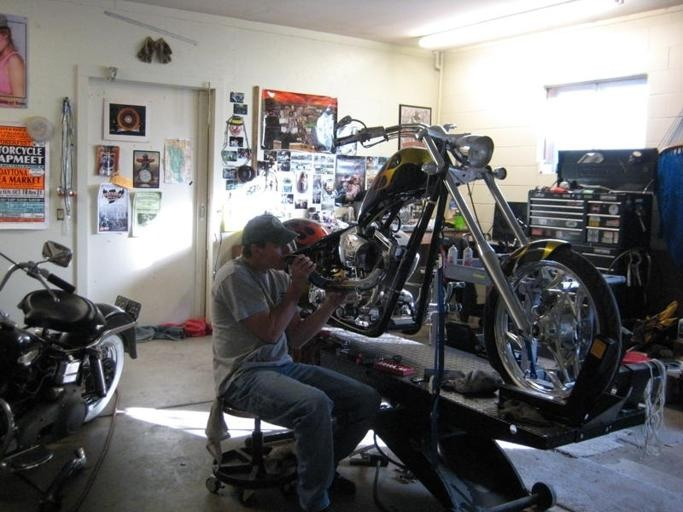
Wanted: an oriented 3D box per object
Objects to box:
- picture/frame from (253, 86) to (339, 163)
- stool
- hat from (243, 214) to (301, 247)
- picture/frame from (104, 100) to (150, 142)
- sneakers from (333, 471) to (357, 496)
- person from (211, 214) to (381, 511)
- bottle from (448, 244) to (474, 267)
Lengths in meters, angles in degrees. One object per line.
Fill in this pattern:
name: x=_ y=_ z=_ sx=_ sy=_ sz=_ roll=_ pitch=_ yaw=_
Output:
picture/frame: x=-0.582 y=-1.531 z=6.133 sx=1.296 sy=0.956 sz=0.064 roll=-2 pitch=5 yaw=-30
stool: x=-0.487 y=1.138 z=2.985 sx=0.521 sy=0.570 sz=0.530 roll=1 pitch=3 yaw=-7
hat: x=-0.396 y=-0.126 z=2.841 sx=0.233 sy=0.125 sz=0.164 roll=-5 pitch=8 yaw=2
picture/frame: x=-2.263 y=-1.401 z=5.469 sx=0.447 sy=0.414 sz=0.047 roll=-3 pitch=8 yaw=-30
sneakers: x=0.009 y=1.234 z=2.852 sx=0.114 sy=0.047 sz=0.120 roll=25 pitch=51 yaw=2
person: x=-0.284 y=0.542 z=2.800 sx=0.836 sy=1.484 sz=0.583 roll=7 pitch=9 yaw=35
bottle: x=1.190 y=-0.006 z=5.226 sx=0.219 sy=0.208 sz=0.078 roll=1 pitch=0 yaw=19
